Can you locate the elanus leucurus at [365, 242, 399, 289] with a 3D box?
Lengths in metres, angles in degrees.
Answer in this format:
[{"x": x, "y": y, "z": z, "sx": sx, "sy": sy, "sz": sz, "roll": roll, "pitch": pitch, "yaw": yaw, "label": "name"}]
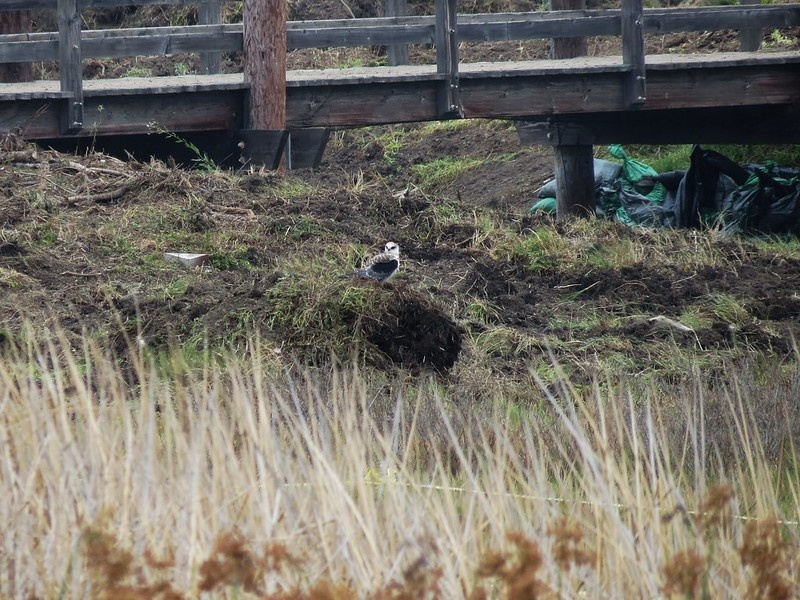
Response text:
[{"x": -0.241, "y": -0.376, "z": 21.291, "sx": 0.456, "sy": 0.489, "sz": 0.344, "roll": 3, "pitch": 5, "yaw": -1, "label": "elanus leucurus"}]
